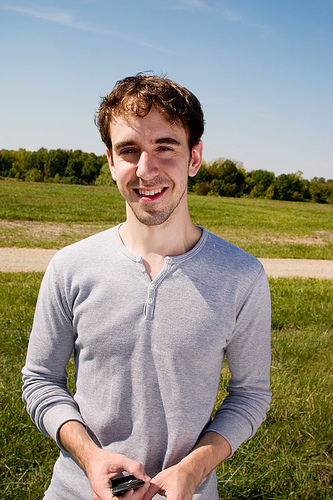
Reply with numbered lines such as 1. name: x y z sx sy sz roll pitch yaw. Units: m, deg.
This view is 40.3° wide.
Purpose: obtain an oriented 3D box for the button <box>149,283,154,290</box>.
1. button: -0.048 0.117 1.478 0.017 0.016 0.004 0 -13 -5

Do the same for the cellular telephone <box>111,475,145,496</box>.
1. cellular telephone: -0.113 0.669 1.308 0.094 0.045 0.061 3 13 -6

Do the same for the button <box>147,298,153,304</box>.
1. button: -0.053 0.161 1.454 0.018 0.017 0.004 0 -12 -7

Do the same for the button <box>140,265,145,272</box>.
1. button: -0.081 0.060 1.514 0.017 0.015 0.004 -1 -18 1
